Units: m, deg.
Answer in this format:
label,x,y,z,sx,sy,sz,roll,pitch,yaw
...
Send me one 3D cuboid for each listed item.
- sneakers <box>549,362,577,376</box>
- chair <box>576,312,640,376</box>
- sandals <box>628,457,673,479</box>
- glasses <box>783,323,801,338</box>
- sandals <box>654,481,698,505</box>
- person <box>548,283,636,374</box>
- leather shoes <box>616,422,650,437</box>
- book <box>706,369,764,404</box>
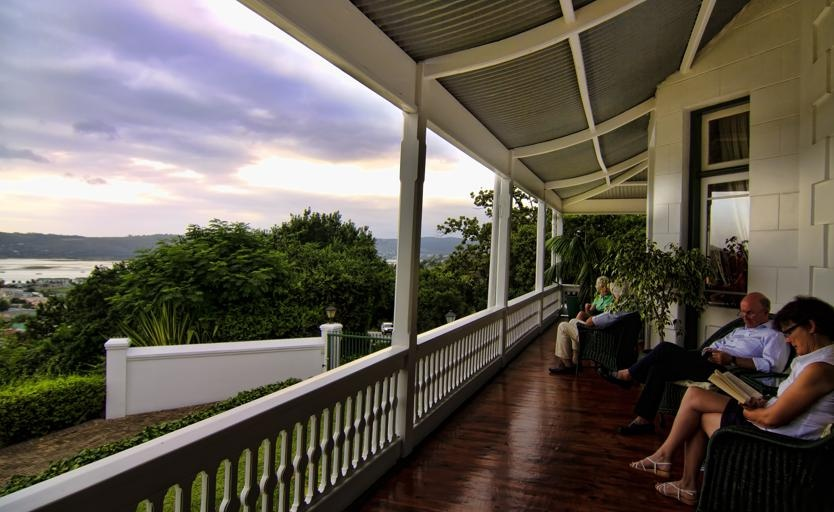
label,x,y,z,sx,sy,sz,roll,pitch,yaw
sneakers,2.278,1.792,7.921,0.441,0.169,0.162,1,-3,7
chair,2.832,1.212,7.309,0.870,0.969,0.865,-1,-3,41
sandals,2.436,2.187,5.231,0.163,0.114,0.331,14,-10,-41
glasses,3.222,0.638,4.335,0.105,0.030,0.103,-36,-26,8
sandals,2.561,2.330,4.966,0.333,0.119,0.170,9,0,43
person,2.625,1.051,7.718,1.041,1.591,0.762,6,15,19
leather shoes,2.571,2.048,5.938,0.397,0.149,0.144,0,-4,2
book,2.917,1.213,4.593,0.355,0.130,0.354,28,16,17
